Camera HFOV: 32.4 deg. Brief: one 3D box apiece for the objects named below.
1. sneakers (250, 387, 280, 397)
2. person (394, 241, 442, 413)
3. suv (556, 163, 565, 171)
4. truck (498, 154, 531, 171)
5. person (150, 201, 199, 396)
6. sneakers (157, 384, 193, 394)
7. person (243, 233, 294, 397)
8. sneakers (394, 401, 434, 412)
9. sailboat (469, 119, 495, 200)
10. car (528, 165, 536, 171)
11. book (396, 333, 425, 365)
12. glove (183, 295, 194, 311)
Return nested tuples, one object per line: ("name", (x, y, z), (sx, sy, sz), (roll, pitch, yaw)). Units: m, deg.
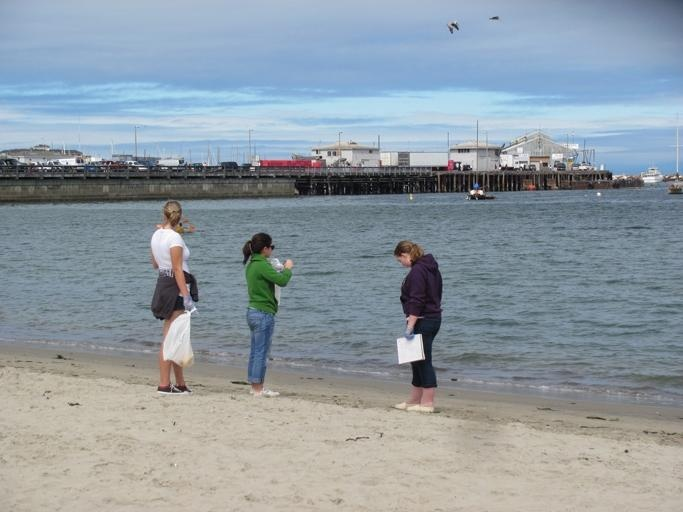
("sneakers", (-1.095, 1.952, 16.843), (0.377, 0.124, 0.138), (-2, 8, -7))
("person", (1.067, 1.000, 16.361), (0.629, 2.455, 0.778), (0, 6, 3))
("suv", (30.978, -12.681, 166.140), (1.409, 0.939, 8.064), (1, 5, 11))
("truck", (23.773, -12.915, 161.033), (4.316, 1.859, 2.302), (2, 4, 4))
("person", (-2.365, 0.602, 16.564), (0.640, 2.777, 1.151), (-1, 6, -8))
("sneakers", (-2.371, 1.897, 16.664), (0.486, 0.146, 0.163), (-1, 2, 0))
("person", (-1.059, 0.857, 16.502), (0.623, 2.390, 0.979), (-1, 6, -4))
("sneakers", (1.019, 2.105, 16.585), (0.523, 0.109, 0.182), (4, -3, 29))
("sailboat", (15.612, -9.772, 131.243), (2.309, 6.158, 61.688), (0, 5, 7))
("car", (25.992, -12.016, 160.425), (1.185, 0.779, 1.638), (0, 2, 2))
("book", (0.978, 1.274, 16.244), (0.460, 0.368, 0.103), (-4, -1, 15))
("glove", (-2.117, 0.640, 16.160), (0.134, 0.227, 0.142), (-1, 6, -9))
